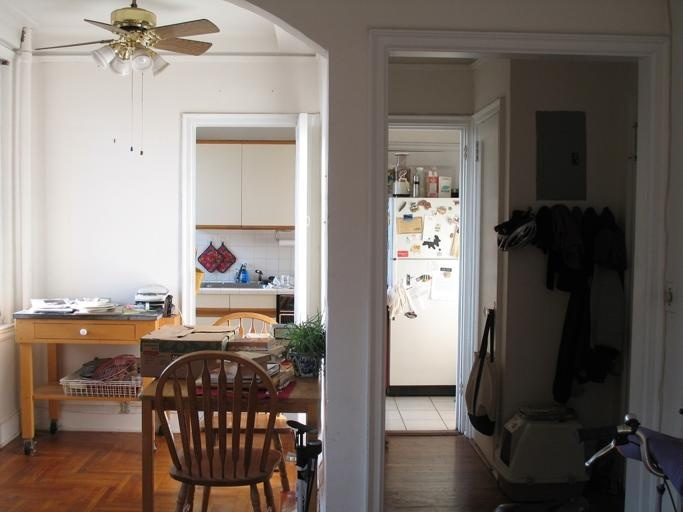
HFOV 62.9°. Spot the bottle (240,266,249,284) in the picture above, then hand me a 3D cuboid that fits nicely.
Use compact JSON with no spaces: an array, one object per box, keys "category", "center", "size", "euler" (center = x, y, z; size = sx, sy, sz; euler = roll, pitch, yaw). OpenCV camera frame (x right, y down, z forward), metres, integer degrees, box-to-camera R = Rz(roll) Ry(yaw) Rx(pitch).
[{"category":"bottle","center":[-1.056,0.210,6.080],"size":[0.113,0.163,0.092],"euler":[-7,12,-39]}]

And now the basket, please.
[{"category":"basket","center":[-1.654,0.827,3.927],"size":[0.563,0.242,0.266],"euler":[1,9,4]}]

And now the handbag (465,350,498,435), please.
[{"category":"handbag","center":[0.740,0.721,2.917],"size":[0.173,0.404,0.092],"euler":[7,11,37]}]

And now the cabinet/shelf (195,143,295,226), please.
[{"category":"cabinet/shelf","center":[-1.009,-0.761,5.684],"size":[0.882,0.733,0.287],"euler":[0,-1,-2]}]

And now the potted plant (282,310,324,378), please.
[{"category":"potted plant","center":[-0.194,0.504,3.139],"size":[0.303,0.308,0.295],"euler":[2,-2,-19]}]

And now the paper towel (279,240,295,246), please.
[{"category":"paper towel","center":[-0.617,-0.132,6.104],"size":[0.167,0.080,0.048],"euler":[1,9,5]}]

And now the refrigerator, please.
[{"category":"refrigerator","center":[0.564,0.232,3.904],"size":[0.495,1.273,0.458],"euler":[2,9,8]}]

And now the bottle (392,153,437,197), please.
[{"category":"bottle","center":[0.492,-0.524,3.711],"size":[0.393,0.281,0.157],"euler":[-8,12,-41]}]

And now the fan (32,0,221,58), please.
[{"category":"fan","center":[-1.122,-1.357,3.315],"size":[0.768,0.369,0.586],"euler":[-1,9,-9]}]

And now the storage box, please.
[{"category":"storage box","center":[-0.898,0.504,3.153],"size":[0.358,0.165,0.356],"euler":[0,4,0]}]
